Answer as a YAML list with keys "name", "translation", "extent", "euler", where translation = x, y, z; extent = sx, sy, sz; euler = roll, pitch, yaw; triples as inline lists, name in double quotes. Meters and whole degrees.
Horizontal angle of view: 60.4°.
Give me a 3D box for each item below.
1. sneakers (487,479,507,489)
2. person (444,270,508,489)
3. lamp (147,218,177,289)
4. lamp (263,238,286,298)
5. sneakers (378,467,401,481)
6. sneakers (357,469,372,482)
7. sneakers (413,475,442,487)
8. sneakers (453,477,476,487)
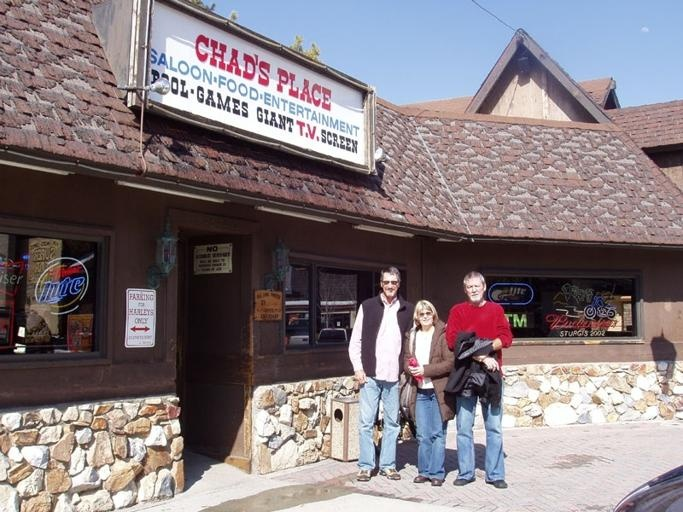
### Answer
- name: "sneakers"
  translation: [1.939, 2.794, 7.236]
  extent: [0.095, 0.112, 0.258]
  euler: [3, -10, -37]
- name: "person"
  translation: [1.719, 1.525, 7.273]
  extent: [0.789, 2.633, 0.785]
  euler: [-1, -5, 17]
- name: "lamp"
  translation: [-2.224, -0.038, 7.266]
  extent: [0.331, 0.896, 0.166]
  euler: [3, -6, -27]
- name: "lamp"
  translation: [-0.906, 0.142, 8.678]
  extent: [0.214, 0.770, 0.578]
  euler: [-2, -6, 26]
- name: "sneakers"
  translation: [0.626, 2.821, 7.650]
  extent: [0.128, 0.131, 0.278]
  euler: [7, -8, -41]
- name: "sneakers"
  translation: [0.299, 2.824, 7.572]
  extent: [0.200, 0.135, 0.225]
  euler: [0, -5, 3]
- name: "sneakers"
  translation: [1.113, 2.830, 7.399]
  extent: [0.361, 0.086, 0.205]
  euler: [-5, -7, 42]
- name: "sneakers"
  translation: [1.552, 2.822, 7.353]
  extent: [0.290, 0.135, 0.103]
  euler: [13, -11, -33]
